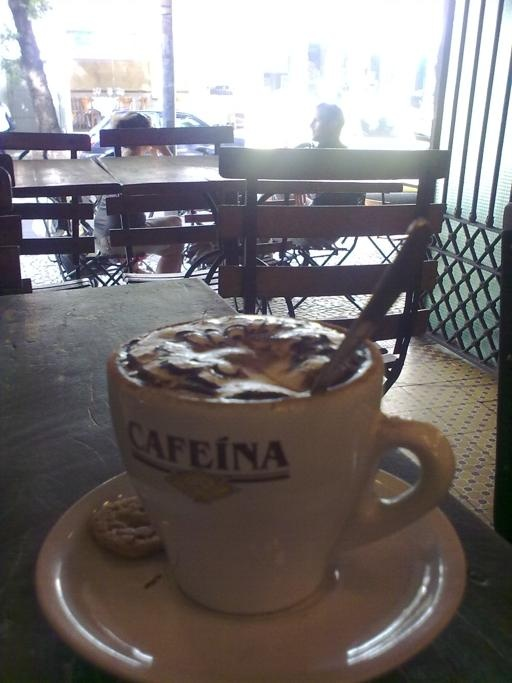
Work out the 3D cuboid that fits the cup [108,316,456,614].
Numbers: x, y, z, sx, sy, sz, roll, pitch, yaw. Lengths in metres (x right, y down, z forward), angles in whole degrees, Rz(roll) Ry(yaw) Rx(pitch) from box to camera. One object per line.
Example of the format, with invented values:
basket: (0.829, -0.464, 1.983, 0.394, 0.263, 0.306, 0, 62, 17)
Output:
cup: (0.013, 0.065, 0.297, 0.177, 0.114, 0.132, 7, 17, 26)
